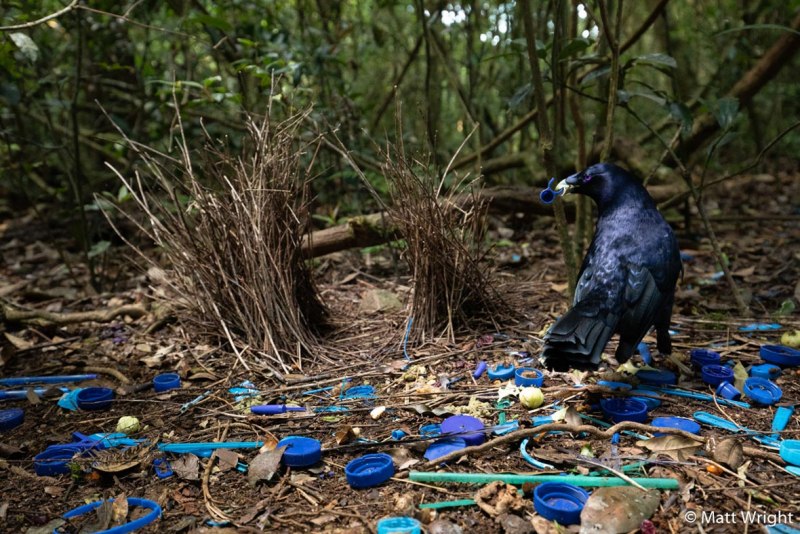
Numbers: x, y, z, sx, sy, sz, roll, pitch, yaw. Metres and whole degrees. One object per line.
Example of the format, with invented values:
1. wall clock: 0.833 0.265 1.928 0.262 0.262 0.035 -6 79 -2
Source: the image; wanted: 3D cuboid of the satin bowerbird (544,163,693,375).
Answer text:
1. satin bowerbird: 1.194 0.034 4.319 0.612 1.147 1.289 7 2 23
